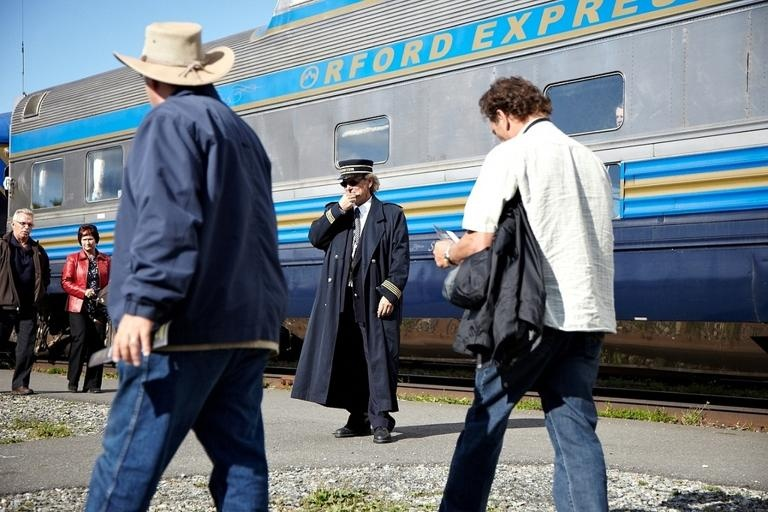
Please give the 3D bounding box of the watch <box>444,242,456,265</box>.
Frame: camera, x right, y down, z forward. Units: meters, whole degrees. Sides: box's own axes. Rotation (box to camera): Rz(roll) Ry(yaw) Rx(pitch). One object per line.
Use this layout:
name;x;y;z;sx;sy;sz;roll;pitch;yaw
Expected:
watch;0.409;-0.003;4.094;0.034;0.107;0.092;3;-3;-5

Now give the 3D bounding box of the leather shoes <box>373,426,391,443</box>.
leather shoes;-0.017;1.750;6.383;0.185;0.157;0.208;0;2;2

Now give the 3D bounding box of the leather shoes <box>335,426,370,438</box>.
leather shoes;-0.326;1.808;6.713;0.352;0.176;0.134;7;-10;-15

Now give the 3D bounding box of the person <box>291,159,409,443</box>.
person;-0.304;0.607;6.595;1.095;2.491;0.503;0;1;13

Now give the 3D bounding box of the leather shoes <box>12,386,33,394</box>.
leather shoes;-4.941;1.818;8.761;0.273;0.133;0.112;-1;-4;13
